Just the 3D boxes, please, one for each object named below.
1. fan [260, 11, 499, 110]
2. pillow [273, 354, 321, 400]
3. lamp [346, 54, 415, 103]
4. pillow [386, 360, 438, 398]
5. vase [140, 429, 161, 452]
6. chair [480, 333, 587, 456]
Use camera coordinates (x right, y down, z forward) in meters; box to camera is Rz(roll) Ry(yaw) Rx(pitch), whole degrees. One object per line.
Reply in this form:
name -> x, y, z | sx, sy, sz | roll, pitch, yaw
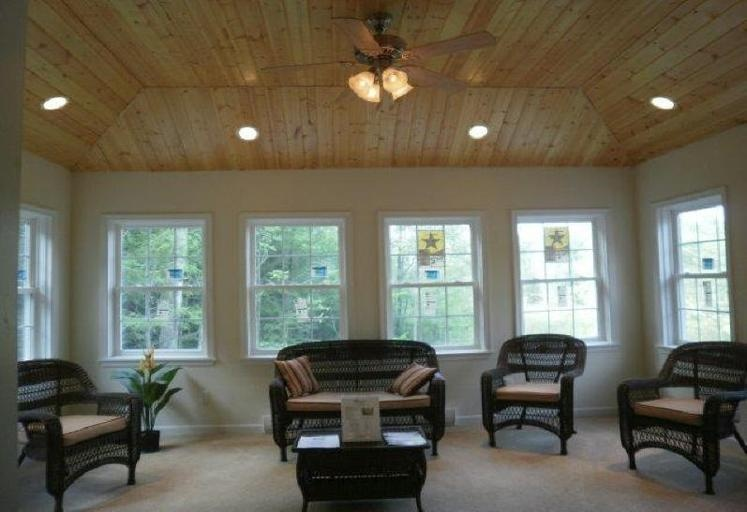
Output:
fan -> 0.234, -1.590, 4.747 | 1.168, 0.402, 1.039 | -1, 4, 5
pillow -> -0.796, 1.258, 6.039 | 0.446, 0.368, 0.377 | 2, -6, -38
lamp -> 0.062, -1.383, 4.782 | 0.430, 0.258, 0.420 | -9, -15, 29
pillow -> 0.414, 1.276, 5.937 | 0.435, 0.282, 0.367 | -1, -5, -17
vase -> -2.320, 1.927, 5.994 | 0.213, 0.201, 0.215 | -1, -12, 8
chair -> 1.770, 1.434, 6.259 | 0.997, 1.129, 0.971 | -4, -5, 23
